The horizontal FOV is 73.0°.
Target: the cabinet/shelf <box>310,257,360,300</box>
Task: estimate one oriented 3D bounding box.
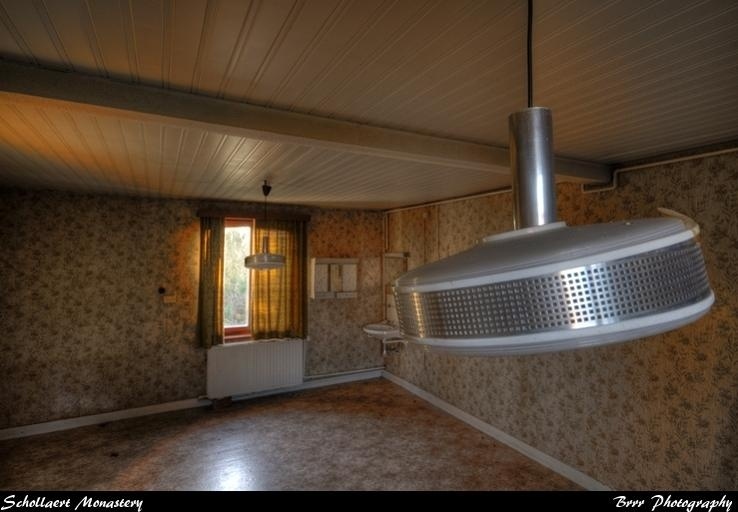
[{"bbox_3d":[-0.533,0.303,7.284,0.625,0.520,0.215,1,-4,-26],"label":"cabinet/shelf"}]

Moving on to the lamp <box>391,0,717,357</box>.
[{"bbox_3d":[0.719,-0.230,2.570,1.252,1.375,1.220,-2,-5,-32],"label":"lamp"}]
